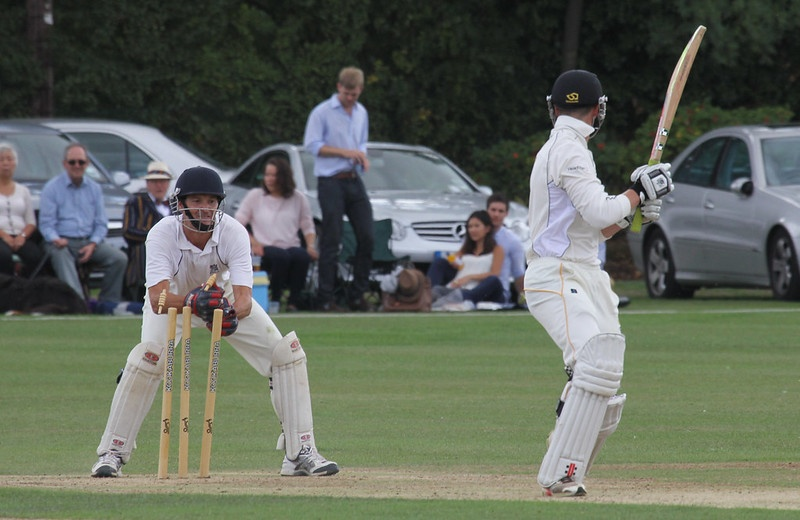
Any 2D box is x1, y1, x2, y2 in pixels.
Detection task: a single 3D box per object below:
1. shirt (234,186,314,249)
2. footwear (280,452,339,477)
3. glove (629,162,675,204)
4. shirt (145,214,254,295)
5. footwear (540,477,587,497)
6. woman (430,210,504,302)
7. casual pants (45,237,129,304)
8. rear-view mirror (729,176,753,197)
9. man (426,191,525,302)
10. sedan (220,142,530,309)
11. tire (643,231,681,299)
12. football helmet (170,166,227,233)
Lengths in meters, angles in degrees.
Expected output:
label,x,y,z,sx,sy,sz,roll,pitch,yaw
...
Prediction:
label,x,y,z,sx,sy,sz,roll,pitch,yaw
shirt,-1.620,-0.593,20.887,1.262,0.935,0.697,2,-7,-1
footwear,-0.863,1.915,15.194,0.582,0.269,0.213,-1,-1,7
glove,2.311,-0.769,14.710,0.295,0.186,0.404,22,51,13
shirt,-1.894,-0.135,15.311,1.133,1.063,0.656,0,11,-8
footwear,1.473,2.026,14.387,0.273,0.125,0.195,-2,0,10
woman,0.852,-0.040,20.713,1.216,1.294,0.931,0,5,-42
casual pants,-4.063,0.154,20.951,0.835,1.123,0.887,6,-32,-23
rear-view mirror,4.326,-0.993,20.340,0.257,0.196,0.193,-4,-4,44
man,0.933,-0.209,21.429,1.364,1.727,1.353,6,1,-27
sedan,-0.509,-0.672,22.653,1.906,1.390,4.083,0,1,-31
tire,3.574,-0.003,21.815,0.294,0.890,0.883,1,3,-19
football helmet,-1.882,-0.602,15.080,0.504,0.605,0.593,2,-8,-26
